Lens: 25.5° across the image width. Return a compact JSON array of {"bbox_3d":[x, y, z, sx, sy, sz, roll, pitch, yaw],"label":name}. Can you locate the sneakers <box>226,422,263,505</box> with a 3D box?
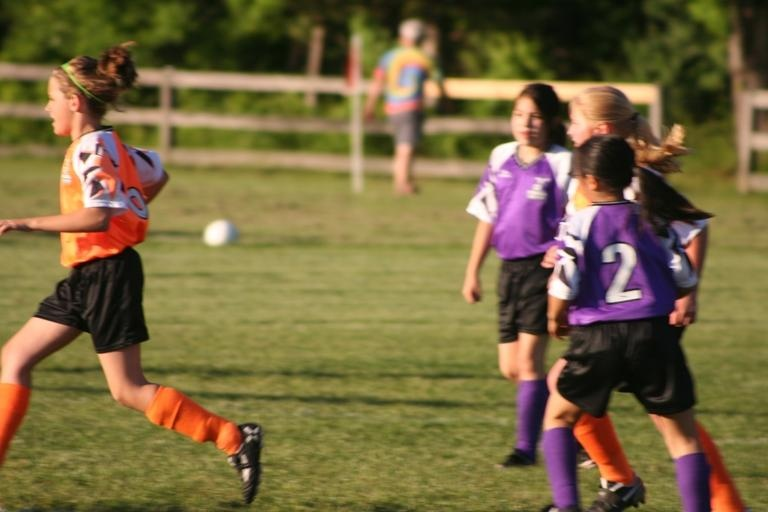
[{"bbox_3d":[-1.063,1.604,13.050,0.355,0.576,0.233,-2,3,-9],"label":"sneakers"}]

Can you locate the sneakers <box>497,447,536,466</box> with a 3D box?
[{"bbox_3d":[1.061,1.622,13.518,0.380,0.111,0.106,1,-2,-4],"label":"sneakers"}]

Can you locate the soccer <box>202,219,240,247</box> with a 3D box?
[{"bbox_3d":[-1.749,-0.217,18.249,0.417,0.305,0.187,2,-29,11],"label":"soccer"}]
